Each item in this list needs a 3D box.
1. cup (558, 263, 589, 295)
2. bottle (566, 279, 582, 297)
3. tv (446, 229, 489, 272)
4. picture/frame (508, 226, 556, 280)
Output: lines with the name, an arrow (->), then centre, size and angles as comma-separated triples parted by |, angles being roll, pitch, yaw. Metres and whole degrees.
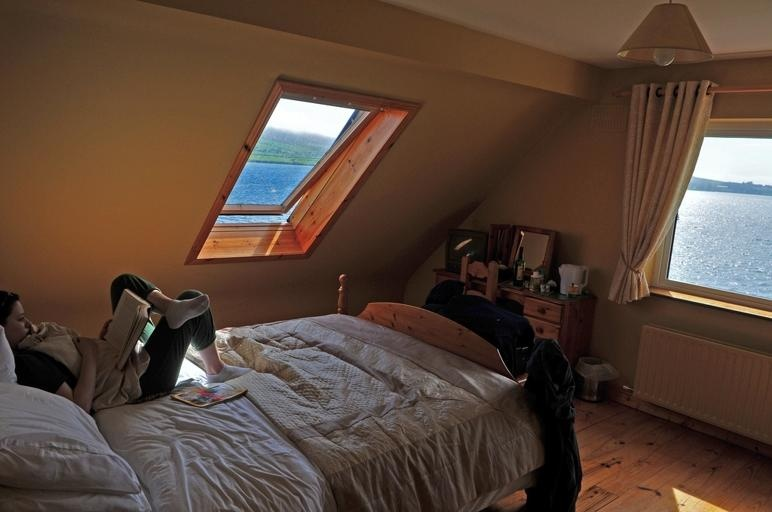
cup -> 1.710, 0.223, 4.371 | 0.311, 0.302, 0.216 | 3, 6, 16
bottle -> 1.725, 0.314, 4.338 | 0.144, 0.134, 0.094 | -2, 4, 3
tv -> 0.855, -0.043, 4.949 | 0.234, 0.401, 0.423 | -1, 5, -43
picture/frame -> 1.470, -0.018, 4.699 | 0.442, 0.610, 0.081 | 13, 1, 37
